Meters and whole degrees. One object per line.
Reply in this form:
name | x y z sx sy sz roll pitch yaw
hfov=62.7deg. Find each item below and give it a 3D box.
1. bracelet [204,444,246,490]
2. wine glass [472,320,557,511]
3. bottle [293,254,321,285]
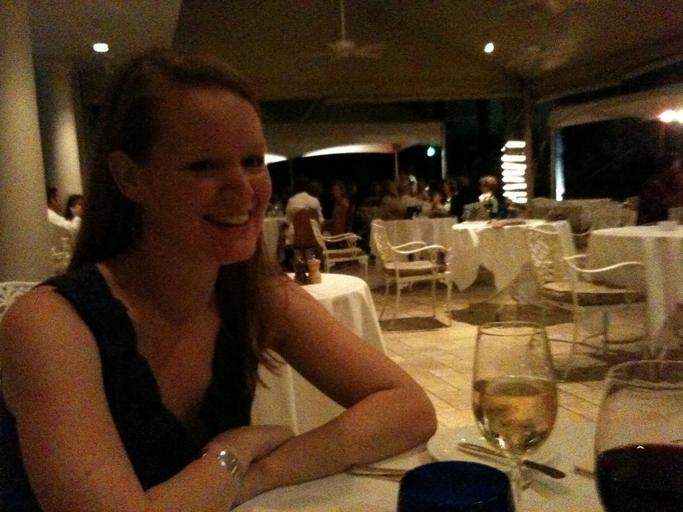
bracelet | -0.157 0.294 0.772 0.038 0.048 0.019 -38 -9 -37
wine glass | 0.207 0.166 0.671 0.095 0.159 0.045 -4 3 16
bottle | -0.181 0.063 3.072 0.141 0.213 0.205 -4 5 -5
